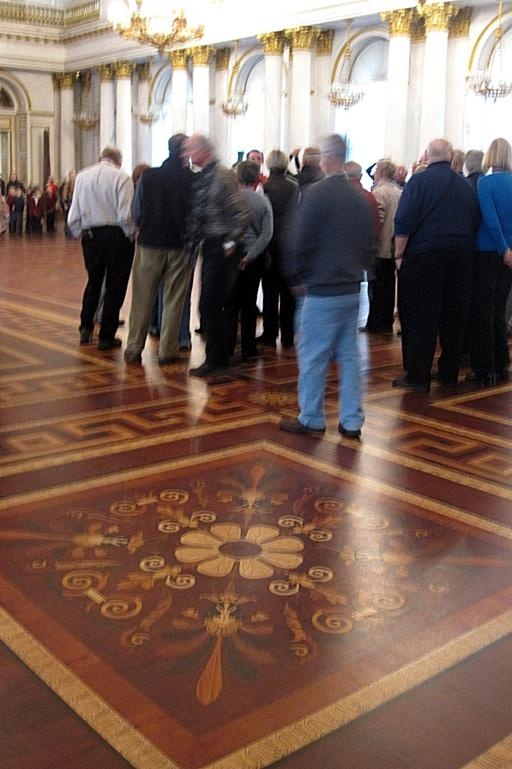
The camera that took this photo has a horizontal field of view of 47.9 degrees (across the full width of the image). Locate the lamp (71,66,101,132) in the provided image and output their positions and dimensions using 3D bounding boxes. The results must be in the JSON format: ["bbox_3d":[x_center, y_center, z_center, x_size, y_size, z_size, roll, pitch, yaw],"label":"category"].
[{"bbox_3d":[-7.053,-11.765,23.961,0.970,2.434,2.391,-1,10,-17],"label":"lamp"}]

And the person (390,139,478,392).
[{"bbox_3d":[1.289,-0.741,4.216,0.630,1.592,0.320,-2,10,-27],"label":"person"}]

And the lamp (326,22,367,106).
[{"bbox_3d":[2.387,-8.397,15.317,0.857,2.344,2.140,3,9,6],"label":"lamp"}]

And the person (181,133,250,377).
[{"bbox_3d":[-0.308,-0.941,4.396,0.473,1.785,0.350,3,9,3],"label":"person"}]

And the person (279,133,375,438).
[{"bbox_3d":[0.400,-0.515,3.167,0.484,1.651,0.356,4,9,9],"label":"person"}]
